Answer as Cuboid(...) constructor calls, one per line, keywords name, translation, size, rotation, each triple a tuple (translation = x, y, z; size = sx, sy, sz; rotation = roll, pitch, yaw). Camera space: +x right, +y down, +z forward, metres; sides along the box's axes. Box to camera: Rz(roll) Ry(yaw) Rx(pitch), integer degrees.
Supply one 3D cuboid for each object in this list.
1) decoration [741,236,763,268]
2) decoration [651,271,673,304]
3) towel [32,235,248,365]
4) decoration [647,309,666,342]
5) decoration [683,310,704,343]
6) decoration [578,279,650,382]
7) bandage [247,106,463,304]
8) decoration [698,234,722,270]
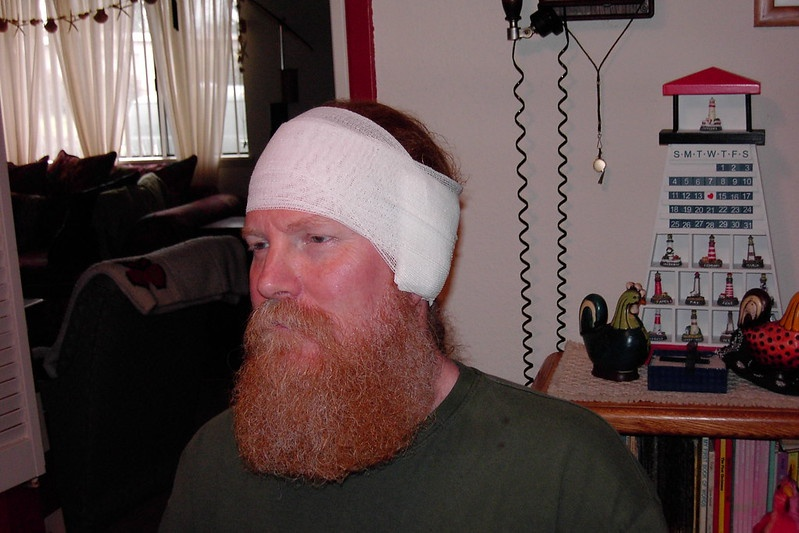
Cuboid(name="decoration", translation=(1.176, -0.044, 2.263), size=(0.072, 0.106, 0.055), rotation=(1, 6, -33))
Cuboid(name="decoration", translation=(0.888, 0.074, 2.321), size=(0.078, 0.107, 0.079), rotation=(0, 9, 43))
Cuboid(name="towel", translation=(-1.055, 0.178, 2.763), size=(0.644, 0.255, 0.484), rotation=(-10, 1, 11))
Cuboid(name="decoration", translation=(0.884, 0.203, 2.391), size=(0.084, 0.098, 0.090), rotation=(3, 10, 20))
Cuboid(name="decoration", translation=(1.003, 0.200, 2.329), size=(0.076, 0.106, 0.078), rotation=(-1, 4, 32))
Cuboid(name="decoration", translation=(0.693, 0.216, 2.190), size=(0.262, 0.349, 0.156), rotation=(6, 11, 40))
Cuboid(name="bandage", translation=(-0.095, -0.169, 1.702), size=(0.467, 0.347, 0.350), rotation=(24, -10, -21))
Cuboid(name="decoration", translation=(1.041, -0.052, 2.282), size=(0.094, 0.131, 0.096), rotation=(-1, -3, 34))
